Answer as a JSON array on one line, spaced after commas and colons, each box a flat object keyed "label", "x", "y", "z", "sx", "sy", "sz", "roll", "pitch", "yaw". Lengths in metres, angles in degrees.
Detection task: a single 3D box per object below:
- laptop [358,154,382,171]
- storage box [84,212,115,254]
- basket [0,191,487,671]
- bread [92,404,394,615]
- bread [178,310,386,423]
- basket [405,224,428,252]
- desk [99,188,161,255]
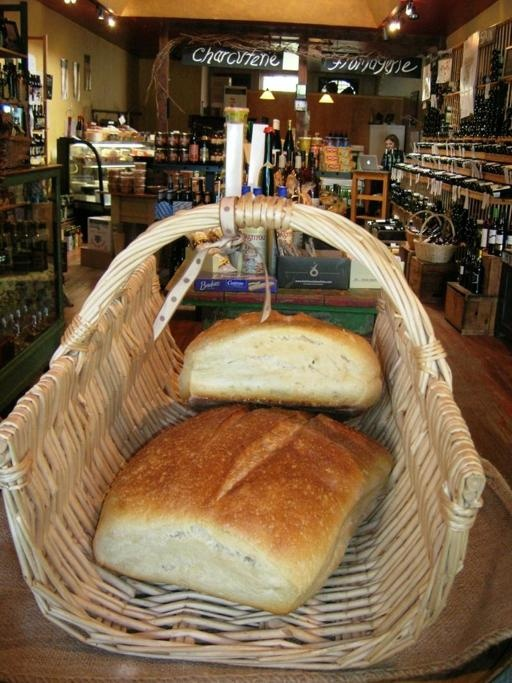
[{"label": "laptop", "x": 1.828, "y": -2.914, "z": 8.060, "sx": 0.320, "sy": 0.230, "sz": 0.228, "roll": 3, "pitch": 16, "yaw": 3}, {"label": "storage box", "x": -2.043, "y": -1.499, "z": 6.821, "sx": 0.446, "sy": 0.462, "sz": 0.467, "roll": 4, "pitch": 23, "yaw": -3}, {"label": "basket", "x": -0.004, "y": 0.057, "z": 0.750, "sx": 0.511, "sy": 0.280, "sz": 0.760, "roll": 1, "pitch": 15, "yaw": 3}, {"label": "bread", "x": -0.006, "y": 0.214, "z": 0.716, "sx": 0.343, "sy": 0.146, "sz": 0.353, "roll": 9, "pitch": 17, "yaw": 22}, {"label": "bread", "x": 0.050, "y": 0.035, "z": 0.897, "sx": 0.332, "sy": 0.123, "sz": 0.182, "roll": 2, "pitch": 4, "yaw": 2}, {"label": "basket", "x": 1.933, "y": -1.299, "z": 6.105, "sx": 0.356, "sy": 0.347, "sz": 0.346, "roll": 5, "pitch": 14, "yaw": 17}, {"label": "desk", "x": -1.491, "y": -1.458, "z": 6.087, "sx": 0.520, "sy": 0.660, "sz": 0.451, "roll": 1, "pitch": 9, "yaw": -19}]
